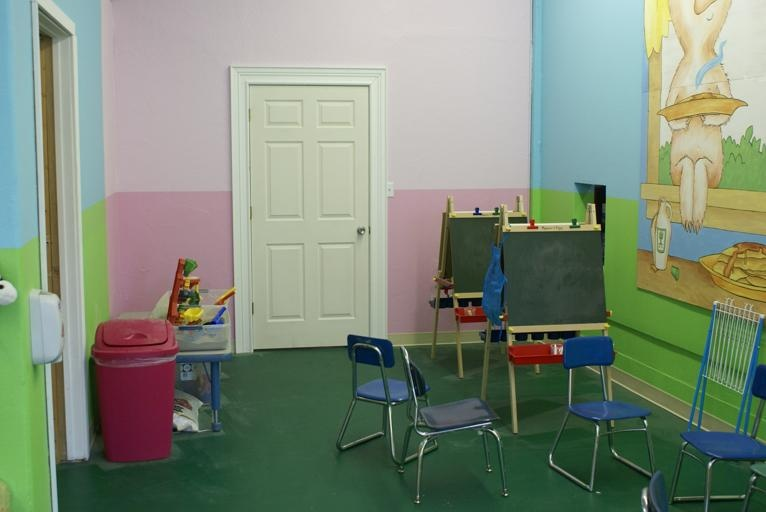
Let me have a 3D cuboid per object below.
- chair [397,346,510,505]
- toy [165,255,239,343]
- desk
[{"bbox_3d":[0.391,1.282,5.161,1.077,1.345,0.929,-3,5,-5],"label":"chair"},{"bbox_3d":[-1.602,0.370,5.666,0.571,0.639,0.639,1,2,-11],"label":"toy"},{"bbox_3d":[-1.486,1.145,5.568,0.611,0.642,0.612,0,3,-10],"label":"desk"}]
